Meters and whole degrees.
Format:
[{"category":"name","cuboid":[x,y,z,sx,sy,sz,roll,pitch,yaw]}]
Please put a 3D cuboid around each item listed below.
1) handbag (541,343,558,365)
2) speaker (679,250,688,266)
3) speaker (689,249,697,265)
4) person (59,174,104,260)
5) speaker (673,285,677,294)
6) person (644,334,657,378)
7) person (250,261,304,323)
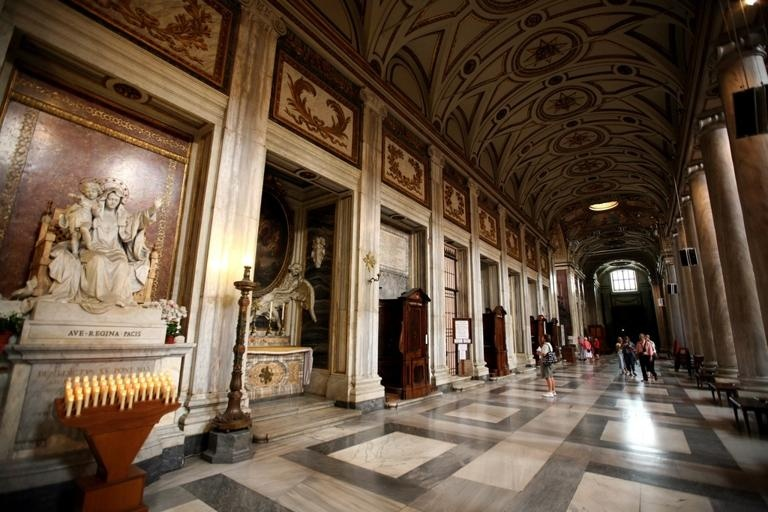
[{"category":"handbag","cuboid":[4.036,2.410,10.004,0.318,0.535,0.362,1,1,17]},{"category":"speaker","cuboid":[8.562,0.024,11.608,0.146,0.460,0.717,1,2,33]},{"category":"speaker","cuboid":[8.621,0.025,11.382,0.194,0.493,0.561,1,2,41]},{"category":"person","cuboid":[-4.353,-0.577,5.882,0.494,1.089,0.535,-1,2,-36]},{"category":"speaker","cuboid":[12.947,1.451,18.145,0.174,0.400,0.746,1,2,38]},{"category":"person","cuboid":[8.450,3.233,12.881,0.350,1.464,1.330,1,2,34]},{"category":"person","cuboid":[-2.379,0.830,9.314,0.344,1.267,1.305,1,2,41]}]
